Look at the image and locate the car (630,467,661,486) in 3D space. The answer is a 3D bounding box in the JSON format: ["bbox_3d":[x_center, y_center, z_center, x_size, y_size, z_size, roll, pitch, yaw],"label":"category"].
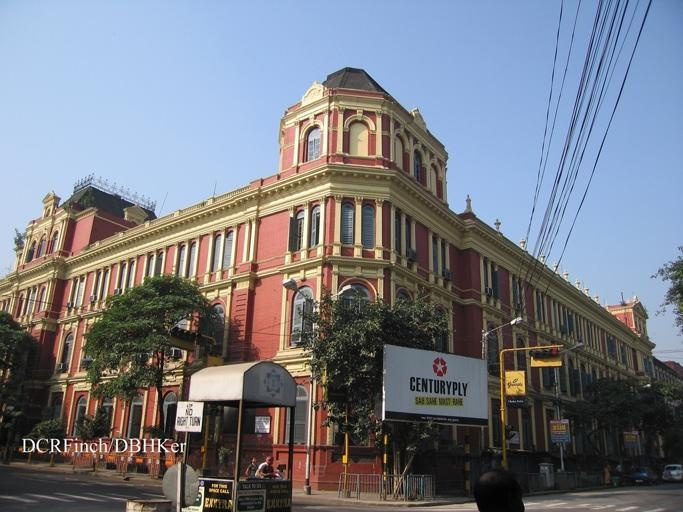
[{"bbox_3d":[27.404,19.807,45.201,1.586,1.413,4.408,-18,-28,34],"label":"car"}]

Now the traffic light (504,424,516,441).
[{"bbox_3d":[9.459,9.813,27.889,0.320,0.639,1.360,-11,-25,24],"label":"traffic light"}]

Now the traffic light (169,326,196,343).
[{"bbox_3d":[-10.374,5.140,32.700,0.429,0.821,1.880,-14,-26,29],"label":"traffic light"}]

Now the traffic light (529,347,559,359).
[{"bbox_3d":[10.750,5.127,26.193,1.315,0.449,0.522,-8,-24,15],"label":"traffic light"}]
